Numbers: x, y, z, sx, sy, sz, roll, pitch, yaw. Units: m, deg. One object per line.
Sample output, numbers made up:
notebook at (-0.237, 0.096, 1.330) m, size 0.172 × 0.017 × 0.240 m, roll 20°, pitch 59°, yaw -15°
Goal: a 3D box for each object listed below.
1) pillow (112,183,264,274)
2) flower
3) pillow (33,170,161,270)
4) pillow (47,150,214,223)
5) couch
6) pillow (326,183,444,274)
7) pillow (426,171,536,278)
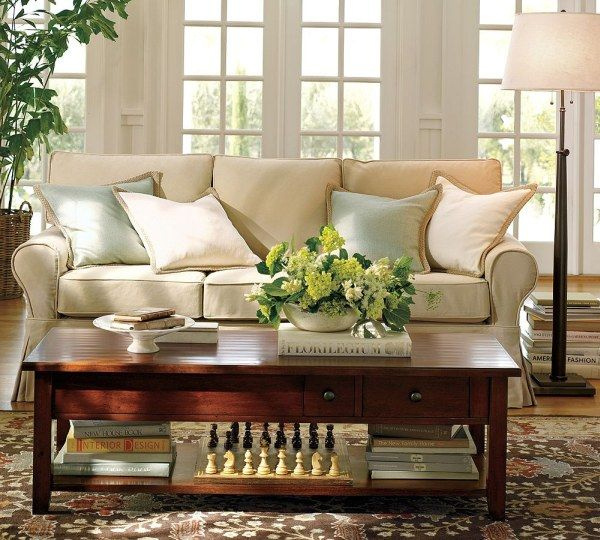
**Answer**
pillow at (-0.561, -0.224, 3.098) m, size 0.639 × 0.397 × 0.444 m, roll -5°, pitch 15°, yaw -44°
flower at (0.124, 0.052, 1.871) m, size 0.391 × 0.197 × 0.359 m, roll -1°, pitch -4°, yaw 32°
pillow at (-0.963, -0.243, 2.981) m, size 0.475 × 0.445 × 0.138 m, roll -8°, pitch -26°, yaw -37°
pillow at (-0.861, -0.437, 3.331) m, size 0.707 × 0.288 × 0.367 m, roll 0°, pitch 13°, yaw -9°
couch at (-0.292, -0.224, 4.030) m, size 3.096 × 1.081 × 1.432 m, roll 2°, pitch 12°, yaw -6°
pillow at (0.435, -0.226, 3.264) m, size 0.718 × 0.450 × 0.439 m, roll 2°, pitch 5°, yaw 14°
pillow at (0.761, -0.205, 2.973) m, size 0.371 × 0.402 × 0.502 m, roll -3°, pitch 12°, yaw -35°
